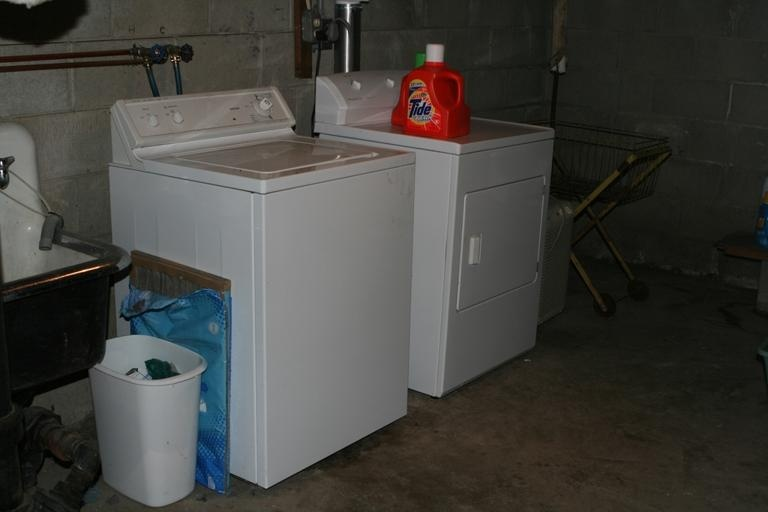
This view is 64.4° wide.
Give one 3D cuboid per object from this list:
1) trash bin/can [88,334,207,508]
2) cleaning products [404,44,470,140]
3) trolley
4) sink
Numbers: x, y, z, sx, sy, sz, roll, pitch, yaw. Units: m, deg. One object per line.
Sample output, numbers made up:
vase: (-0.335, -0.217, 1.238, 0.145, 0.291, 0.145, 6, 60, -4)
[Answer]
trash bin/can: (-0.980, 0.697, 2.573, 0.461, 0.629, 0.338, 15, 26, 33)
cleaning products: (0.268, -0.843, 3.115, 0.337, 0.424, 0.330, 1, 22, 2)
trolley: (1.484, -0.394, 4.602, 0.631, 1.042, 0.913, 25, -11, -40)
sink: (-1.193, 0.133, 2.245, 0.549, 0.413, 0.542, -12, 18, -41)
